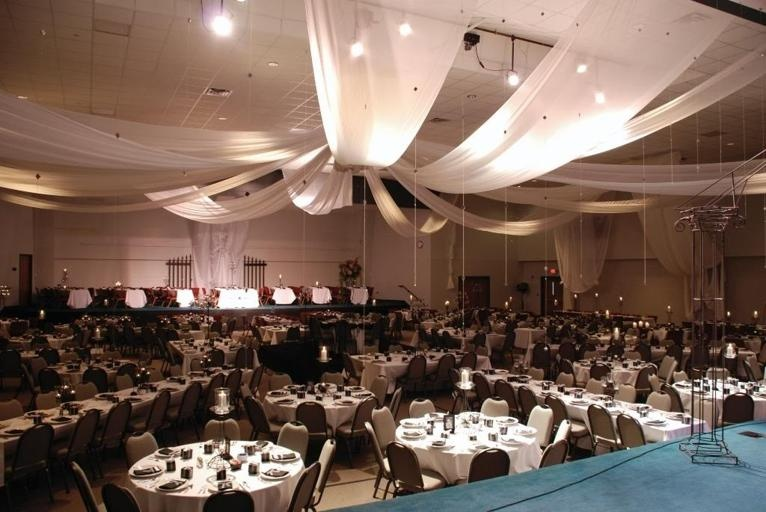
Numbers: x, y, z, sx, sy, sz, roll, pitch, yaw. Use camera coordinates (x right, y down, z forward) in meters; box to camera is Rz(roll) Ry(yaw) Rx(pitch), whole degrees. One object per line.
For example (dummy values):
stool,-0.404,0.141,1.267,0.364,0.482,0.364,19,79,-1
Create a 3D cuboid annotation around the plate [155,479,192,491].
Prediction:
plate,-2.633,2.874,7.157,0.379,0.101,0.242,1,-7,-15
